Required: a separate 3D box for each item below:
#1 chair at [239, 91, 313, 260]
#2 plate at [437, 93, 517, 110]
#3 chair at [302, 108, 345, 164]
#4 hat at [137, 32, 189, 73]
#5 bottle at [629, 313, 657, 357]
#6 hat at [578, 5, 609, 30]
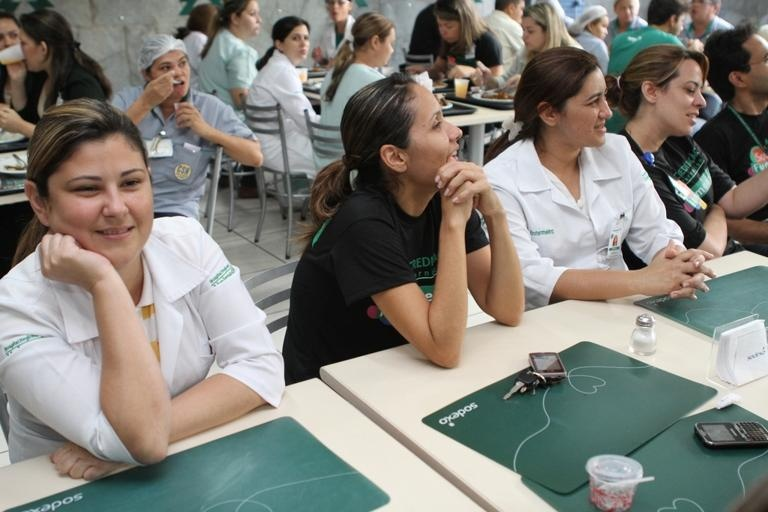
[{"bbox_3d":[-0.832,-0.649,4.793,0.614,1.039,0.722,12,15,29],"label":"chair"},{"bbox_3d":[0.825,-1.343,4.893,0.319,0.055,0.533,-14,23,-33],"label":"plate"},{"bbox_3d":[-0.445,-0.892,4.279,0.305,0.463,0.296,-5,16,0],"label":"chair"},{"bbox_3d":[-1.342,-1.251,3.356,0.200,0.114,0.220,9,31,-1],"label":"hat"},{"bbox_3d":[0.804,0.239,1.749,0.079,0.116,0.080,-1,17,0],"label":"bottle"},{"bbox_3d":[2.479,-2.845,6.707,0.334,0.340,0.243,3,55,9],"label":"hat"}]
